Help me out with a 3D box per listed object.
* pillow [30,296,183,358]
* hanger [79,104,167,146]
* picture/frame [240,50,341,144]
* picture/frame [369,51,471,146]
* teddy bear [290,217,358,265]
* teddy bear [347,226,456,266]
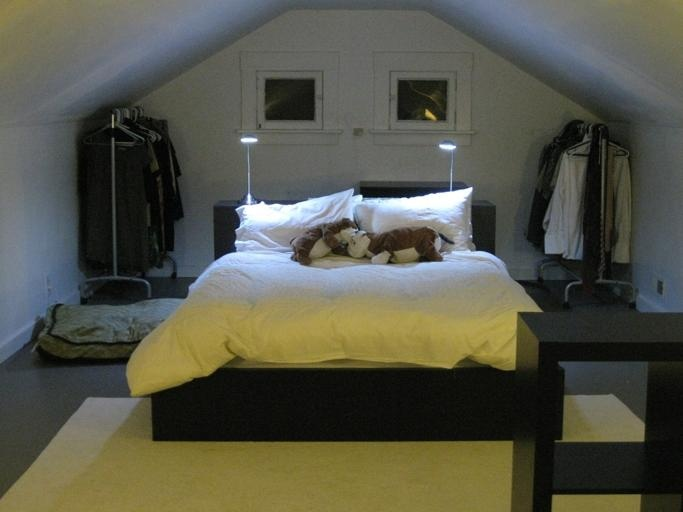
[{"bbox_3d":[-1.565,0.474,3.895,0.489,0.125,0.502,-1,17,-9],"label":"pillow"},{"bbox_3d":[-1.709,-1.040,4.748,0.669,0.310,0.434,-5,10,-25],"label":"hanger"},{"bbox_3d":[-0.459,-1.354,5.155,0.838,0.794,0.095,-1,33,-8],"label":"picture/frame"},{"bbox_3d":[0.668,-1.390,5.094,0.868,0.807,0.149,0,9,1],"label":"picture/frame"},{"bbox_3d":[-0.105,-0.110,3.716,0.381,0.244,0.214,-17,6,-11],"label":"teddy bear"},{"bbox_3d":[0.373,-0.042,3.715,0.651,0.283,0.227,1,-10,7],"label":"teddy bear"}]
